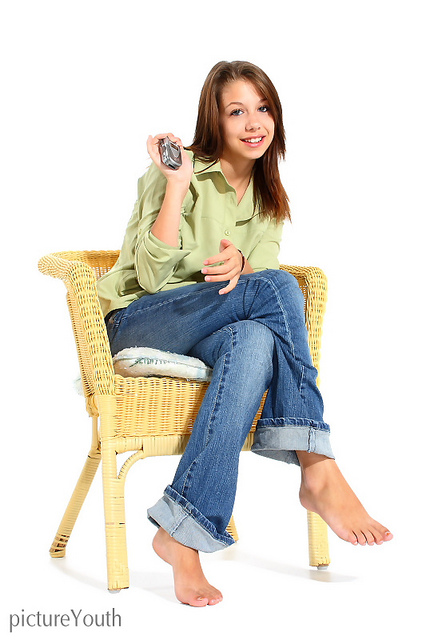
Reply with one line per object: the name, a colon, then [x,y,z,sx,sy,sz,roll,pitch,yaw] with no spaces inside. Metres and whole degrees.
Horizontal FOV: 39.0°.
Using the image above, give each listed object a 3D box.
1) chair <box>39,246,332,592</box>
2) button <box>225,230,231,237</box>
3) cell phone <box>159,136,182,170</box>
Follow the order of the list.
chair: [-0.075,0.230,1.474,0.641,0.692,0.613,7,-2,-28]
button: [0.040,-0.234,1.635,0.006,0.016,0.024,5,-2,29]
cell phone: [-0.093,-0.365,1.325,0.042,0.074,0.021,-17,-11,-29]
